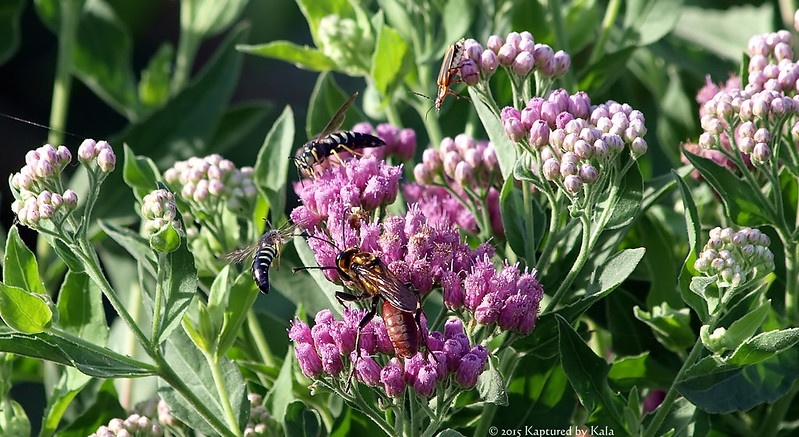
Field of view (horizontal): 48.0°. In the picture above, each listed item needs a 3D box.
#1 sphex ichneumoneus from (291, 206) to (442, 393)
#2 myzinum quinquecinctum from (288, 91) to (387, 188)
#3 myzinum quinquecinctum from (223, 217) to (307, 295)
[{"bbox_3d":[-0.140,0.237,3.150,0.430,0.585,0.347,-16,10,-15],"label":"sphex ichneumoneus"},{"bbox_3d":[-0.259,-0.285,3.469,0.325,0.183,0.330,-37,-1,5],"label":"myzinum quinquecinctum"},{"bbox_3d":[-0.520,0.121,3.337,0.168,0.484,0.228,1,3,3],"label":"myzinum quinquecinctum"}]
